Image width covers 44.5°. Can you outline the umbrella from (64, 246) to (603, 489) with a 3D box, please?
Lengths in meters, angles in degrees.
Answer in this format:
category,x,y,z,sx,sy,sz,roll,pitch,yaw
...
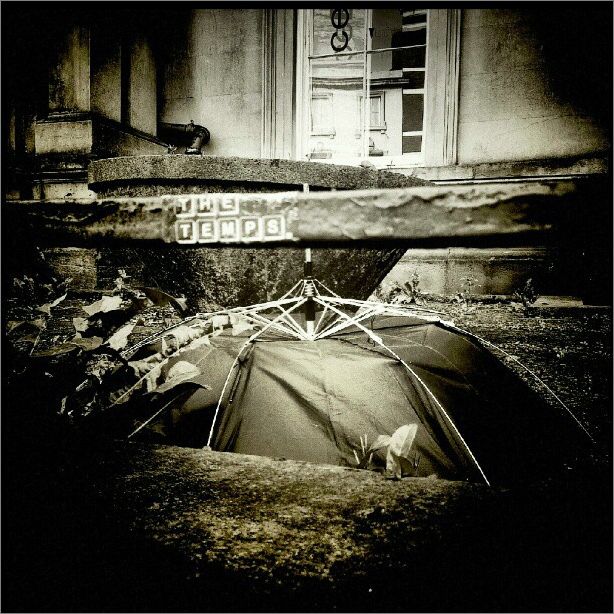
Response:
category,x,y,z,sx,sy,sz,roll,pitch,yaw
umbrella,0.120,0.278,2.945,1.827,0.520,0.827,1,13,2
